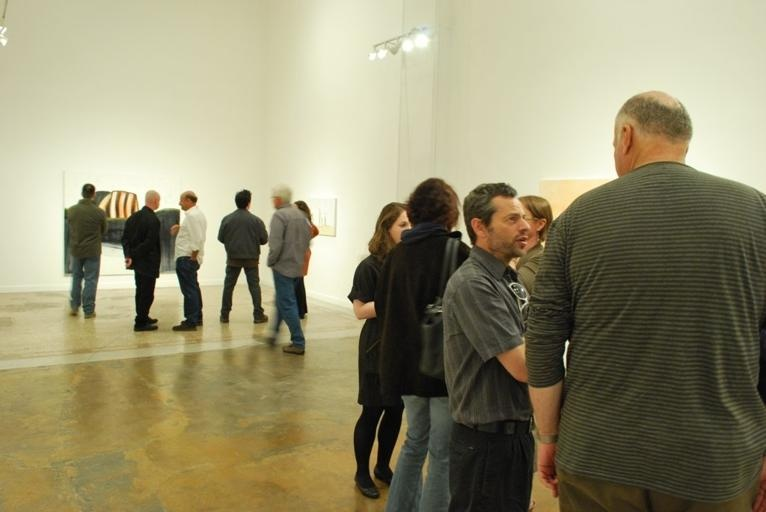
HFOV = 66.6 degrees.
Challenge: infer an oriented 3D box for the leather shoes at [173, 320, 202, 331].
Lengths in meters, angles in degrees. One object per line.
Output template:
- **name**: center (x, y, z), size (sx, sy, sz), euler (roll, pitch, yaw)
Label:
- **leather shoes**: center (-2.866, 1.017, 8.545), size (0.383, 0.153, 0.140), euler (2, -4, -13)

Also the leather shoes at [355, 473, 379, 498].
- **leather shoes**: center (-0.115, 1.686, 4.263), size (0.085, 0.104, 0.255), euler (2, -12, -21)

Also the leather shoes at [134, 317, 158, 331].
- **leather shoes**: center (-3.410, 0.973, 8.452), size (0.132, 0.170, 0.407), euler (5, 7, 37)

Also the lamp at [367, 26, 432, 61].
- **lamp**: center (0.148, -3.166, 8.886), size (0.338, 0.403, 1.558), euler (-20, 17, -27)

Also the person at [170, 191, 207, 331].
- **person**: center (-2.835, 0.071, 8.506), size (0.448, 2.003, 0.499), euler (0, 8, -15)

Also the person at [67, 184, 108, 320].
- **person**: center (-4.575, -0.090, 9.046), size (0.660, 1.998, 0.523), euler (8, 9, 36)

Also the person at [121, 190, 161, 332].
- **person**: center (-3.375, 0.105, 8.139), size (0.465, 1.972, 0.377), euler (-2, 8, -26)

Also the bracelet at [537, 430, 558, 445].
- **bracelet**: center (0.785, 0.856, 2.741), size (0.070, 0.028, 0.062), euler (0, -4, -15)

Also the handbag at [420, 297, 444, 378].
- **handbag**: center (0.284, 0.487, 3.364), size (0.130, 0.464, 0.165), euler (1, 8, -4)

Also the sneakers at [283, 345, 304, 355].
- **sneakers**: center (-1.130, 1.196, 7.457), size (0.291, 0.126, 0.108), euler (7, -5, 13)

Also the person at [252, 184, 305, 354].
- **person**: center (-1.205, 0.187, 7.404), size (0.525, 2.108, 0.545), euler (1, 8, -8)

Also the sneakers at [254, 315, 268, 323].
- **sneakers**: center (-1.883, 0.972, 8.990), size (0.194, 0.120, 0.095), euler (-4, 4, -27)
